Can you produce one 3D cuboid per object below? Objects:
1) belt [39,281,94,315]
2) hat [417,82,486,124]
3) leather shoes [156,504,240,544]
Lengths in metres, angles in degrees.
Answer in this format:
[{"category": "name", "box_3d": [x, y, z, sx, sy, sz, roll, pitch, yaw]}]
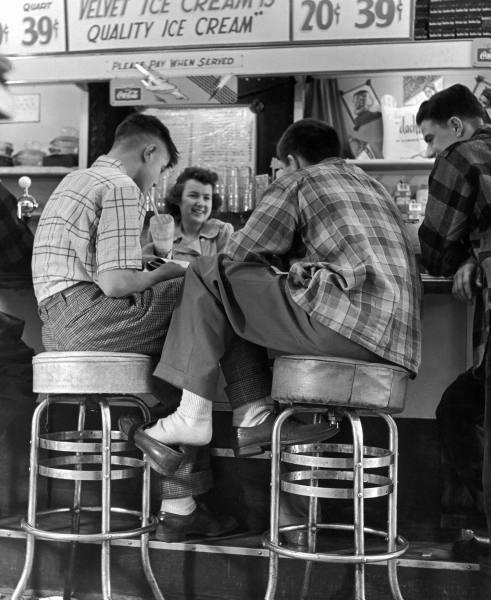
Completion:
[{"category": "belt", "box_3d": [-0.538, -0.012, 2.214, 0.136, 0.034, 0.098, -22, -5, 2]}, {"category": "hat", "box_3d": [0.675, -0.635, 2.460, 0.192, 0.145, 0.143, 5, 3, 38]}, {"category": "leather shoes", "box_3d": [-0.163, 0.724, 2.412, 0.298, 0.109, 0.100, 1, -5, -20]}]
